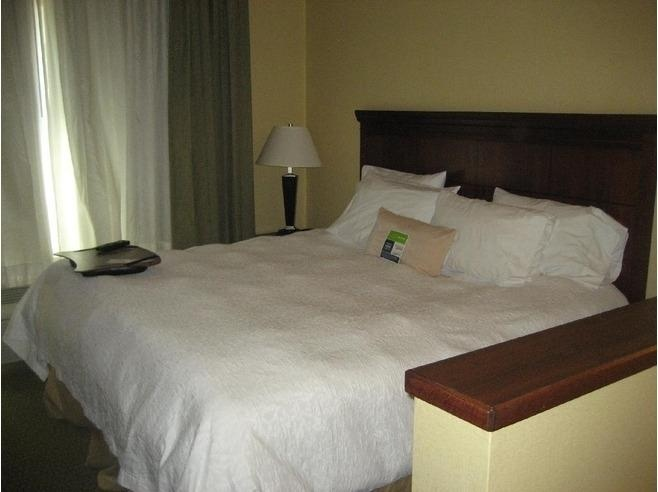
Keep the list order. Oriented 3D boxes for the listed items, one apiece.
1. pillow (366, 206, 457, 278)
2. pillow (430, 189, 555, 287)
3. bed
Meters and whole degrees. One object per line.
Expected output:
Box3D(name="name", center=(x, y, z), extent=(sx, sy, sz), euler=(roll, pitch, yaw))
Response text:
Box3D(name="pillow", center=(0.458, -0.005, 3.125), extent=(0.210, 0.305, 0.595), euler=(11, 4, -38))
Box3D(name="pillow", center=(0.875, -0.030, 2.826), extent=(0.193, 0.441, 0.650), euler=(15, 3, -39))
Box3D(name="bed", center=(-0.053, 0.193, 2.498), extent=(1.748, 1.219, 1.732), euler=(-8, 11, -44))
